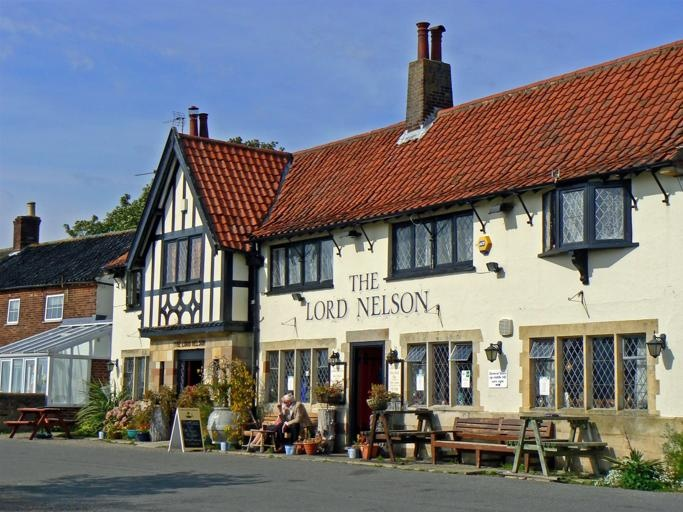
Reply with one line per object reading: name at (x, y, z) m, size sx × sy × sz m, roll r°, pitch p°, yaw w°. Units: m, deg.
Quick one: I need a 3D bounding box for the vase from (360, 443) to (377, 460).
vase at (0.698, 4.814, 23.948) m, size 0.463 × 0.374 × 0.401 m, roll 1°, pitch -12°, yaw -2°

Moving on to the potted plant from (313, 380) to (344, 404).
potted plant at (-0.342, 3.643, 25.894) m, size 0.765 × 0.598 × 0.514 m, roll -12°, pitch -18°, yaw 39°

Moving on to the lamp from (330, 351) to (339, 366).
lamp at (-0.177, 2.722, 26.039) m, size 0.192 × 0.400 × 0.351 m, roll 11°, pitch -18°, yaw -39°

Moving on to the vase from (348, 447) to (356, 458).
vase at (0.285, 4.902, 24.248) m, size 0.221 × 0.280 × 0.421 m, roll -1°, pitch -14°, yaw 1°

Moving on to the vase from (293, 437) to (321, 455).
vase at (-0.847, 4.931, 25.177) m, size 0.739 × 0.439 × 0.511 m, roll 3°, pitch -14°, yaw -13°

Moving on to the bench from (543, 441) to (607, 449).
bench at (4.949, 3.980, 20.514) m, size 1.341 × 0.196 × 0.695 m, roll 9°, pitch -17°, yaw -32°

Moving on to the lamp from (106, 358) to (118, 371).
lamp at (-8.006, 3.803, 34.002) m, size 0.347 × 0.439 × 0.602 m, roll 5°, pitch -15°, yaw -22°

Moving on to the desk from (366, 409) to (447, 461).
desk at (1.412, 4.287, 23.723) m, size 1.355 × 1.016 × 1.369 m, roll 7°, pitch -20°, yaw -29°

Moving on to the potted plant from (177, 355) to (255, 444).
potted plant at (-3.083, 4.169, 28.308) m, size 2.348 × 3.165 × 2.105 m, roll -3°, pitch -6°, yaw 35°

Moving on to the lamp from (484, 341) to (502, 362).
lamp at (3.524, 2.213, 22.610) m, size 0.240 × 0.473 × 0.399 m, roll 12°, pitch -19°, yaw -42°

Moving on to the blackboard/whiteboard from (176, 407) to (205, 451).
blackboard/whiteboard at (-4.158, 4.757, 26.631) m, size 0.780 × 1.179 × 0.394 m, roll 3°, pitch -14°, yaw -15°

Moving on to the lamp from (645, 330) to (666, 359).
lamp at (6.542, 1.836, 20.099) m, size 0.237 × 0.517 × 0.355 m, roll 12°, pitch -18°, yaw -41°

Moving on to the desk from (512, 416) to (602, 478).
desk at (4.645, 3.972, 20.661) m, size 1.897 × 1.430 × 1.511 m, roll -6°, pitch -15°, yaw 22°

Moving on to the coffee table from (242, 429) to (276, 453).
coffee table at (-2.151, 4.996, 26.332) m, size 0.687 × 0.555 × 0.704 m, roll 16°, pitch -19°, yaw -43°

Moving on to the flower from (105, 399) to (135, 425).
flower at (-7.123, 5.099, 31.421) m, size 0.964 × 0.640 × 0.757 m, roll -19°, pitch -14°, yaw 31°

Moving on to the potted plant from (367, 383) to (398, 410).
potted plant at (1.035, 3.591, 24.590) m, size 0.673 × 0.556 × 0.632 m, roll 7°, pitch -14°, yaw -20°

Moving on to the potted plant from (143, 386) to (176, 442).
potted plant at (-5.453, 4.802, 29.564) m, size 1.144 × 1.634 × 0.511 m, roll -13°, pitch -18°, yaw 41°
